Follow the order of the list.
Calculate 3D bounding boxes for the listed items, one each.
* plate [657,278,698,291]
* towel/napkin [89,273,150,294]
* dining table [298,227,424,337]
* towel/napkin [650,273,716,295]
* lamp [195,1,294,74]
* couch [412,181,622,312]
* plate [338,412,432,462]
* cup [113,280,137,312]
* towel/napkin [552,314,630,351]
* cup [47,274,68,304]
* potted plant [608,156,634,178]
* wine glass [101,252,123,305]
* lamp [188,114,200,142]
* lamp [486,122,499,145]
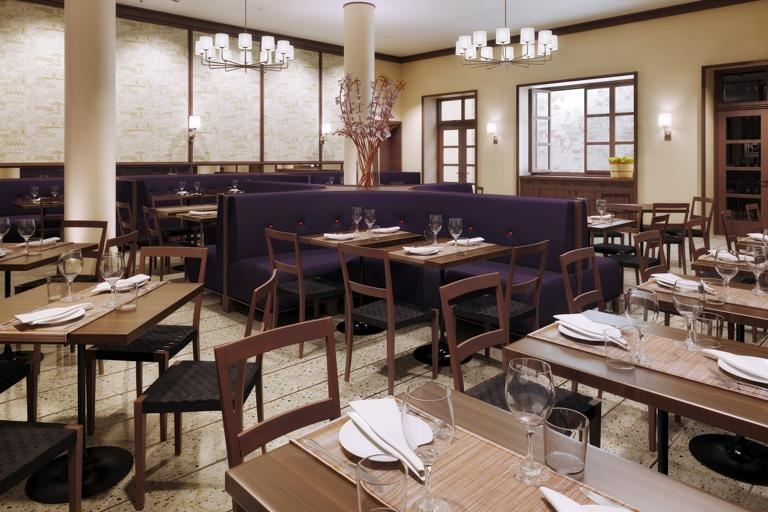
[{"bbox_3d":[1.669,0.161,3.135,0.128,0.039,0.131,3,3,1],"label":"plate"},{"bbox_3d":[-1.485,0.162,3.235,0.189,0.035,0.175,9,15,41],"label":"towel/napkin"},{"bbox_3d":[-0.145,0.159,5.148,1.092,0.925,1.035,1,6,12],"label":"dining table"},{"bbox_3d":[1.672,0.153,3.186,0.206,0.030,0.213,-5,8,-22],"label":"towel/napkin"},{"bbox_3d":[-2.581,-3.932,10.074,1.531,1.267,3.230,-3,9,-17],"label":"lamp"},{"bbox_3d":[1.188,-0.257,5.256,1.771,1.042,1.296,6,11,40],"label":"couch"},{"bbox_3d":[-0.043,0.608,2.018,0.241,0.031,0.242,-8,23,-39],"label":"plate"},{"bbox_3d":[-1.389,0.227,2.984,0.129,0.137,0.153,4,-7,-40],"label":"cup"},{"bbox_3d":[0.987,0.343,2.679,0.170,0.030,0.235,-7,14,-24],"label":"towel/napkin"},{"bbox_3d":[-1.815,0.175,3.099,0.119,0.138,0.146,0,-2,-10],"label":"cup"},{"bbox_3d":[4.585,-1.732,10.873,0.479,0.327,0.424,-1,3,-18],"label":"potted plant"},{"bbox_3d":[-1.485,0.113,3.066,0.111,0.274,0.250,-5,11,-25],"label":"wine glass"},{"bbox_3d":[-3.728,-2.530,10.980,0.262,0.526,0.344,-5,11,-25],"label":"lamp"},{"bbox_3d":[2.465,-2.792,12.652,0.318,0.504,0.138,6,12,31],"label":"lamp"}]
